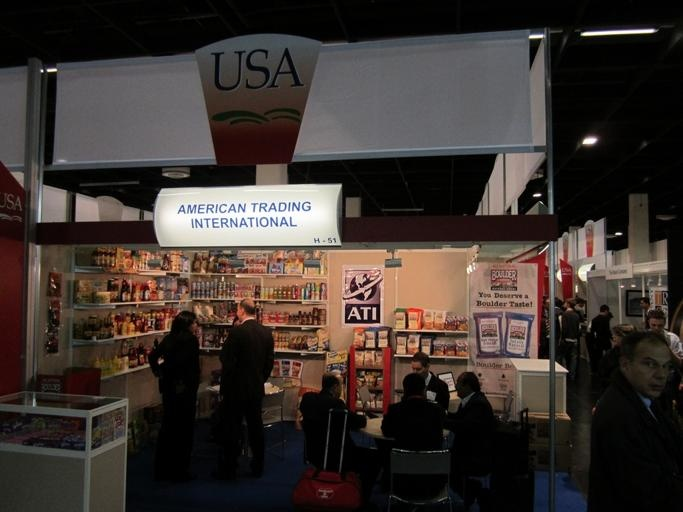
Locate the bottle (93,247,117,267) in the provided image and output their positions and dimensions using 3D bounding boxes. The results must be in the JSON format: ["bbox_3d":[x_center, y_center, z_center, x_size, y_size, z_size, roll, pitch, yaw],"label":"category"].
[{"bbox_3d":[-3.026,0.005,7.595,0.090,0.310,0.207,1,-5,7],"label":"bottle"}]

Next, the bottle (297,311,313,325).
[{"bbox_3d":[-0.561,0.964,9.344,0.170,0.178,0.178,1,-1,18],"label":"bottle"}]

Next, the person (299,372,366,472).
[{"bbox_3d":[-0.119,1.816,6.547,0.679,1.060,0.556,4,-5,-10],"label":"person"}]

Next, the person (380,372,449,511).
[{"bbox_3d":[0.748,1.963,6.070,0.650,1.504,0.496,1,5,4],"label":"person"}]

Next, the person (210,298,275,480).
[{"bbox_3d":[-1.187,1.763,7.383,0.673,1.865,0.406,0,5,-14],"label":"person"}]

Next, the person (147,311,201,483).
[{"bbox_3d":[-2.025,1.707,7.264,0.557,2.014,0.411,-1,5,-17],"label":"person"}]
